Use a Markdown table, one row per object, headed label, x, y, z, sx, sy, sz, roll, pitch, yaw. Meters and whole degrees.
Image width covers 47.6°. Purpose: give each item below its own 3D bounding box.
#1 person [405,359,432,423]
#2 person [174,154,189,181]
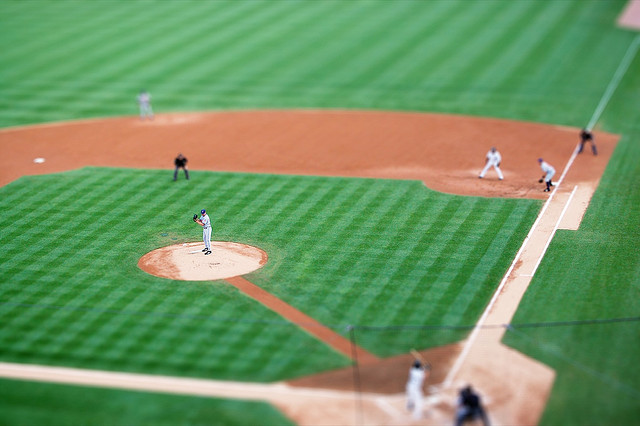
| label | x | y | z | sx | sy | sz | roll | pitch | yaw |
| --- | --- | --- | --- | --- | --- | --- | --- | --- | --- |
| person | 3.422 | 5.889 | 24.129 | 0.829 | 1.970 | 1.300 | 10 | 2 | 28 |
| person | -7.332 | -2.471 | 38.306 | 0.749 | 1.312 | 1.522 | 1 | 17 | -10 |
